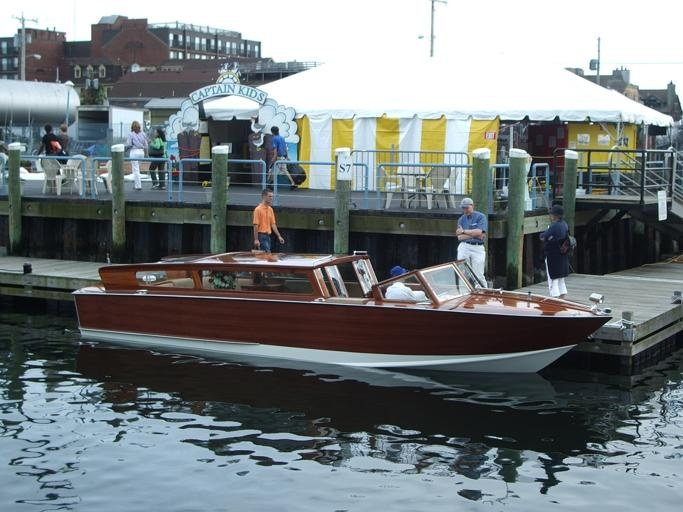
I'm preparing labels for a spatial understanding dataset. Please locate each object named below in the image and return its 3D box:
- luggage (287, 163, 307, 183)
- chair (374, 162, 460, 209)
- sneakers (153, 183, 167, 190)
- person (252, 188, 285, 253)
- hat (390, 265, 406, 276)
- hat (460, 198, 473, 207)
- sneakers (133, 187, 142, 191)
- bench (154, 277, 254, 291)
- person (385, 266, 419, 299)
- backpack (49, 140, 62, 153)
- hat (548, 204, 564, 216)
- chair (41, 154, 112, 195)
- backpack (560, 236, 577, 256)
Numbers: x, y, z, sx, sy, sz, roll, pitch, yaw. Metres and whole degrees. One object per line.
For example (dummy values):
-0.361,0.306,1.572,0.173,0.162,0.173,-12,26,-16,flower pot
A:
-1.138,-2.025,29.452,0.283,0.408,0.468,-34,4,1,luggage
1.818,-1.504,25.941,1.446,0.610,1.390,2,2,25,chair
-4.549,-1.718,29.794,0.370,0.131,0.126,9,12,11,sneakers
-1.468,-0.677,24.062,0.670,1.355,2.079,5,10,-4,person
1.057,0.288,22.198,0.191,0.121,0.258,-14,0,-40,hat
2.352,-0.990,22.476,0.192,0.125,0.268,-1,2,28,hat
-5.008,-1.627,29.298,0.089,0.100,0.260,-8,14,-41,sneakers
-2.471,0.466,21.972,1.050,0.297,0.589,2,3,18,bench
1.049,0.476,21.059,0.412,0.619,0.745,-3,-2,-32,person
-7.188,-2.732,30.045,0.352,0.314,0.290,10,31,7,backpack
4.109,-0.842,22.702,0.220,0.208,0.437,7,10,7,hat
-6.327,-1.899,28.942,1.744,0.738,1.649,0,3,-33,chair
4.317,-0.190,22.780,0.263,0.369,0.426,10,8,22,backpack
